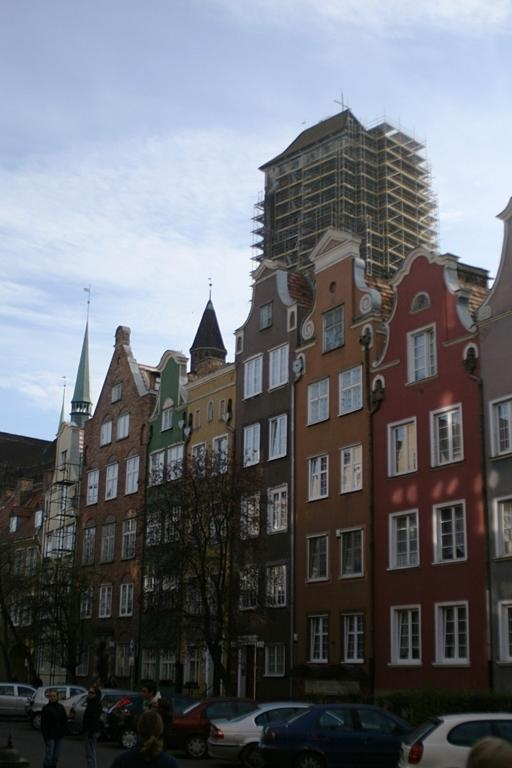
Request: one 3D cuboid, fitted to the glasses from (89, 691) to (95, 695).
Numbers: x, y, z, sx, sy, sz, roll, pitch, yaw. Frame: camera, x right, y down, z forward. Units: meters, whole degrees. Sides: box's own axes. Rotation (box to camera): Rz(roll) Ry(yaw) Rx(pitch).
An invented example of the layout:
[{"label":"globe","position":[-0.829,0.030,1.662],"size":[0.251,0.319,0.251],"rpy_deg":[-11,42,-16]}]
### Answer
[{"label":"glasses","position":[-3.454,6.451,18.969],"size":[0.092,0.059,0.122],"rpy_deg":[-8,-48,-1]}]
